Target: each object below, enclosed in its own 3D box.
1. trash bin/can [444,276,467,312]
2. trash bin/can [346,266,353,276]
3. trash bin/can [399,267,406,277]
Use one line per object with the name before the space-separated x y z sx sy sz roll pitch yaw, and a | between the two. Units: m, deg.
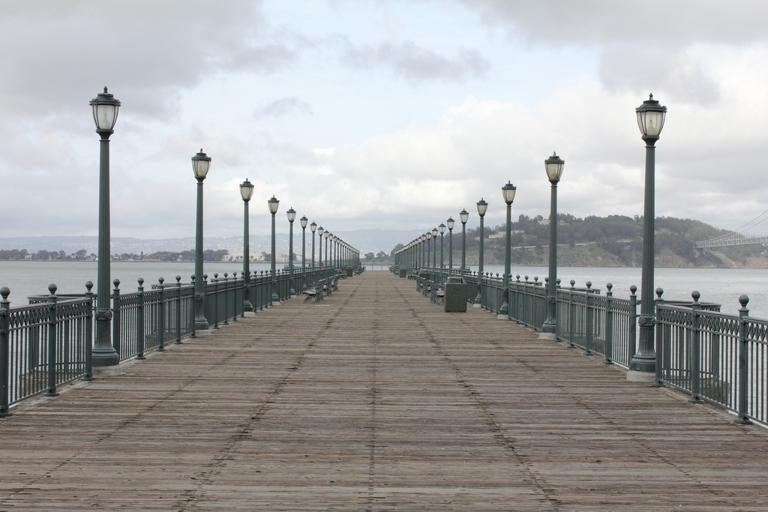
trash bin/can | 2.116 1.201 34.739 0.646 0.971 0.766 1 10 1
trash bin/can | -2.786 1.095 88.252 0.515 0.679 0.690 -1 3 5
trash bin/can | 1.305 1.173 88.918 0.556 0.756 0.730 1 -4 0
